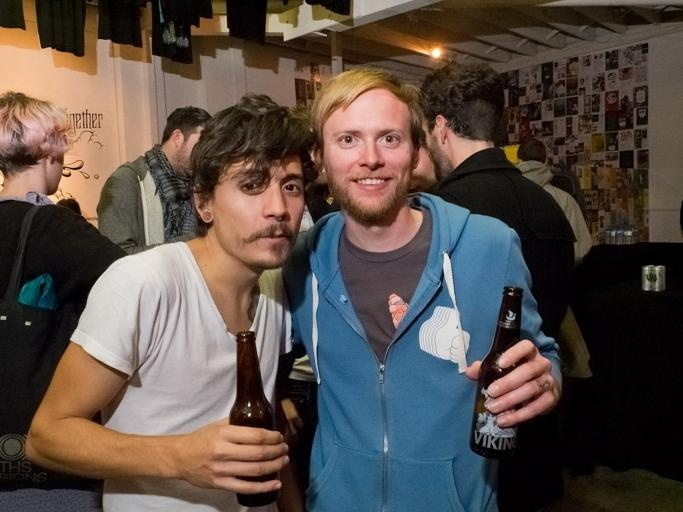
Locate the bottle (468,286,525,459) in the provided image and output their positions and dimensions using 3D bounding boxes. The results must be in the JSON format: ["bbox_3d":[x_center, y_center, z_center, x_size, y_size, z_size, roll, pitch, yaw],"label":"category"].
[{"bbox_3d":[0.490,0.375,1.636,0.137,0.592,0.197,4,11,16],"label":"bottle"}]

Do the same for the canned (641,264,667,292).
[{"bbox_3d":[2.012,0.148,3.370,0.155,0.188,0.164,-2,-3,30],"label":"canned"}]

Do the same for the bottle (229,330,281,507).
[{"bbox_3d":[-0.280,0.545,1.608,0.143,0.669,0.236,-1,10,-9],"label":"bottle"}]
